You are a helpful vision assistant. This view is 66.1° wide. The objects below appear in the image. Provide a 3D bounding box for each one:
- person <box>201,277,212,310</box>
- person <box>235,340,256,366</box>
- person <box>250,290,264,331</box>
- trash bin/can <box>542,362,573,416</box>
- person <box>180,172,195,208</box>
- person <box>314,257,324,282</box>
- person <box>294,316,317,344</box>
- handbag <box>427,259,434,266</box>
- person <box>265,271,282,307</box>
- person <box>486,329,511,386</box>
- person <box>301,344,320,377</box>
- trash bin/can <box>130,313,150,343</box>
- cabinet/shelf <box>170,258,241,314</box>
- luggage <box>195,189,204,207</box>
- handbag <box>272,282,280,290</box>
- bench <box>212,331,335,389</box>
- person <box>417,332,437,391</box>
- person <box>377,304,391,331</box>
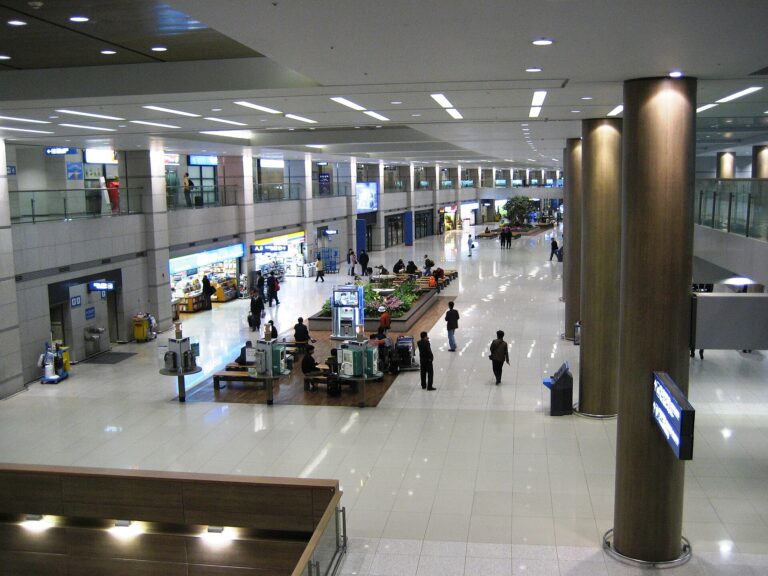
[{"bbox_3d":[-7.706,0.155,25.488,0.425,1.426,0.721,-4,10,-12],"label":"person"},{"bbox_3d":[-3.921,1.834,16.539,0.626,0.887,0.521,2,5,15],"label":"person"},{"bbox_3d":[-4.674,0.903,21.393,0.389,1.126,0.898,-2,10,-4],"label":"person"},{"bbox_3d":[3.841,2.196,13.013,0.686,1.168,0.386,-3,10,-8],"label":"trash bin/can"},{"bbox_3d":[-8.169,-4.109,24.533,0.455,1.379,1.731,-4,10,-17],"label":"person"},{"bbox_3d":[-3.659,-1.089,32.732,0.465,1.332,2.047,-3,10,-7],"label":"person"},{"bbox_3d":[-2.404,1.274,18.356,0.641,0.971,0.956,1,11,6],"label":"person"},{"bbox_3d":[2.455,-1.351,31.571,0.258,0.430,1.078,1,10,15],"label":"handbag"},{"bbox_3d":[-5.031,-0.066,26.461,0.567,1.457,2.699,-3,10,-11],"label":"person"},{"bbox_3d":[2.964,1.642,15.195,0.434,1.589,2.107,0,10,11],"label":"person"},{"bbox_3d":[-1.947,1.852,15.551,0.399,0.687,0.793,-3,10,-5],"label":"person"},{"bbox_3d":[-8.654,1.414,20.764,0.626,0.871,0.501,-2,9,0],"label":"trash bin/can"},{"bbox_3d":[-7.721,-0.163,26.076,0.914,1.883,4.379,1,10,16],"label":"cabinet/shelf"},{"bbox_3d":[-7.894,-3.855,24.950,0.383,0.709,0.724,1,10,5],"label":"luggage"},{"bbox_3d":[-4.792,-0.098,25.934,0.332,0.180,0.448,-2,3,-10],"label":"handbag"},{"bbox_3d":[-3.032,1.959,15.637,1.559,0.969,2.255,2,5,13],"label":"bench"},{"bbox_3d":[1.071,1.768,15.025,0.419,1.524,0.778,-1,9,3],"label":"person"},{"bbox_3d":[-0.010,1.042,20.505,0.330,0.893,0.670,16,23,38],"label":"person"}]
